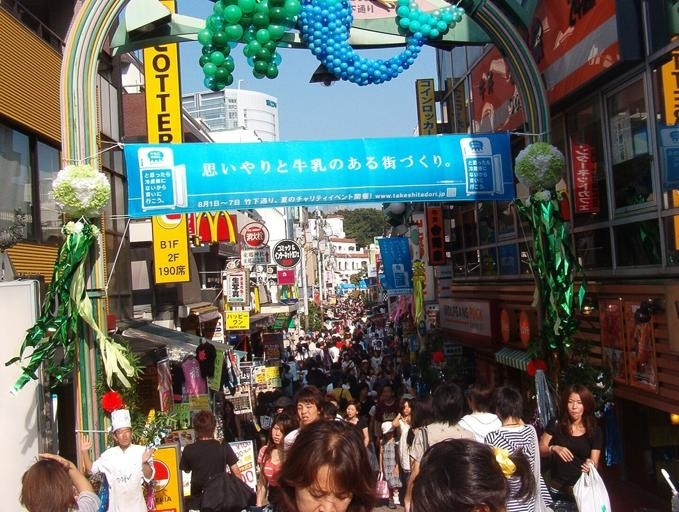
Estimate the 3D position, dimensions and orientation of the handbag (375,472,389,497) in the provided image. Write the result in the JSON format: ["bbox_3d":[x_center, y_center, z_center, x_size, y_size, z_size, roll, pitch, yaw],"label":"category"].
[{"bbox_3d":[0.688,3.611,8.364,0.154,0.416,0.314,-1,-3,6],"label":"handbag"}]

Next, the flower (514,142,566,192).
[{"bbox_3d":[2.980,-1.348,8.054,0.626,0.756,0.410,1,-3,-19],"label":"flower"}]

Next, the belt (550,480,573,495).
[{"bbox_3d":[2.439,2.568,5.958,0.164,0.130,0.241,-2,-17,40],"label":"belt"}]

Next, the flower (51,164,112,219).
[{"bbox_3d":[-3.407,-0.834,7.274,0.612,0.766,0.687,1,2,3],"label":"flower"}]

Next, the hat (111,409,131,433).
[{"bbox_3d":[-2.471,1.863,6.099,0.221,0.266,0.251,1,-29,-28],"label":"hat"}]

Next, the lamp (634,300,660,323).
[{"bbox_3d":[4.421,0.812,7.801,0.091,0.370,0.455,0,-3,-12],"label":"lamp"}]

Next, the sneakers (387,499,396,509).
[{"bbox_3d":[0.833,3.974,8.571,0.119,0.074,0.129,6,10,8],"label":"sneakers"}]
